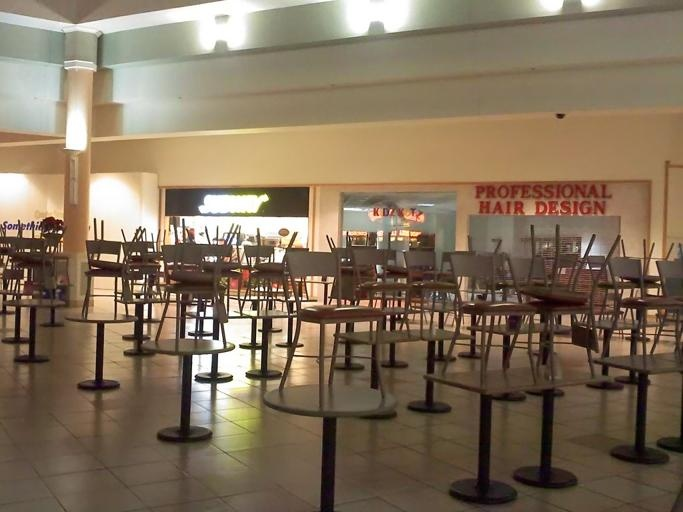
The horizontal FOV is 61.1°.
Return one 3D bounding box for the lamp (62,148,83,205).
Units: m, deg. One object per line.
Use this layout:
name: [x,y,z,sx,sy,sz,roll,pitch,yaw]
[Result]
lamp: [-5.737,-1.668,12.390,0.325,1.197,0.322,0,-1,-18]
